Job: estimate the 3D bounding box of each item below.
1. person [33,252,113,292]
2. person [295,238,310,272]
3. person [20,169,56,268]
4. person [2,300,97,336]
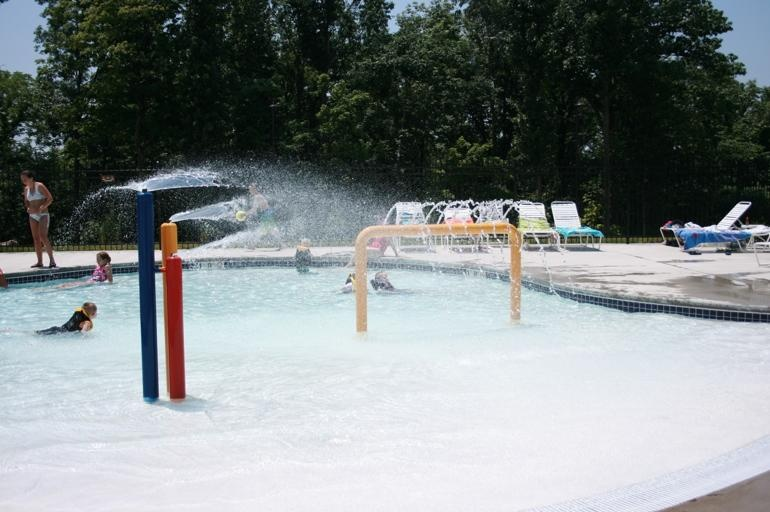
[{"bbox_3d":[-6.052,0.266,14.776,1.430,0.642,0.712,-3,9,-31],"label":"person"},{"bbox_3d":[-1.832,-0.022,16.787,0.309,0.901,0.940,-4,15,-8],"label":"person"},{"bbox_3d":[-7.344,-0.759,16.040,0.562,2.112,0.979,-8,16,-25],"label":"person"},{"bbox_3d":[-4.817,0.960,11.231,0.919,0.369,0.629,1,10,-25],"label":"person"}]
